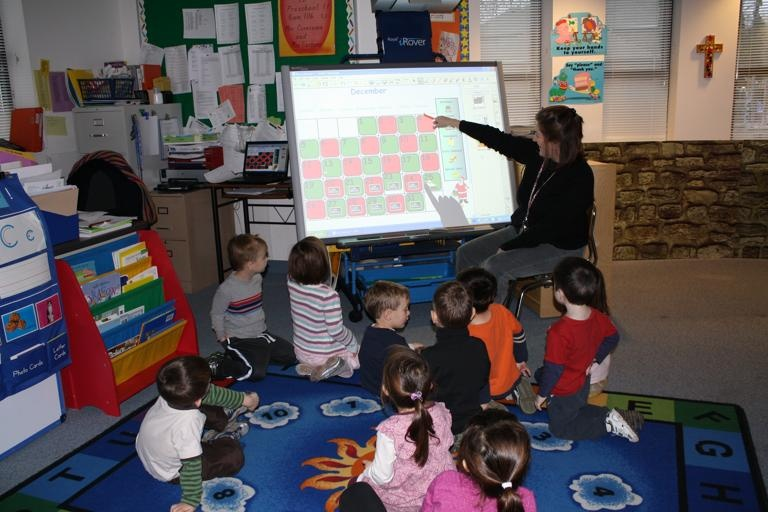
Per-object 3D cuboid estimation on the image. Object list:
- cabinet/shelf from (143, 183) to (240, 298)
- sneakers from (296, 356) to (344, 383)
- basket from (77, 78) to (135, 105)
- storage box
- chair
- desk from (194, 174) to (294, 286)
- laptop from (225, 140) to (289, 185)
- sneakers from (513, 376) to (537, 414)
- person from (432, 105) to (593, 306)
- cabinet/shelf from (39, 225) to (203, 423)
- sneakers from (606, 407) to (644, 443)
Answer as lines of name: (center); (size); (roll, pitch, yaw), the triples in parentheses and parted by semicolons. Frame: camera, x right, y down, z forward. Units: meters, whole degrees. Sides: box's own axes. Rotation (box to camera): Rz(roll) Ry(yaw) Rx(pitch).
cabinet/shelf: (-1.862, -0.160, 5.153); (0.499, 0.890, 0.705); (2, 14, 18)
sneakers: (-0.441, 0.699, 3.360); (0.365, 0.119, 0.153); (-13, 5, 15)
basket: (-2.590, -1.541, 4.963); (0.412, 0.186, 0.272); (3, 13, 18)
storage box: (0.173, 0.155, 4.047); (0.439, 0.124, 0.424); (-6, 11, -19)
chair: (1.203, 0.045, 3.803); (0.684, 0.908, 0.596); (-2, 10, 27)
desk: (-0.951, -0.269, 5.049); (1.113, 0.961, 0.794); (-4, 8, 3)
laptop: (-1.113, -0.831, 4.756); (0.472, 0.311, 0.357); (4, 24, 16)
sneakers: (0.782, 0.790, 3.054); (0.096, 0.101, 0.245); (-6, 57, -1)
person: (0.904, -0.221, 3.724); (1.043, 1.517, 0.839); (-2, 19, 4)
cabinet/shelf: (-1.563, 0.412, 3.082); (0.402, 0.916, 0.942); (1, 21, 20)
sneakers: (1.277, 0.902, 2.838); (0.223, 0.127, 0.078); (-2, 4, -36)
